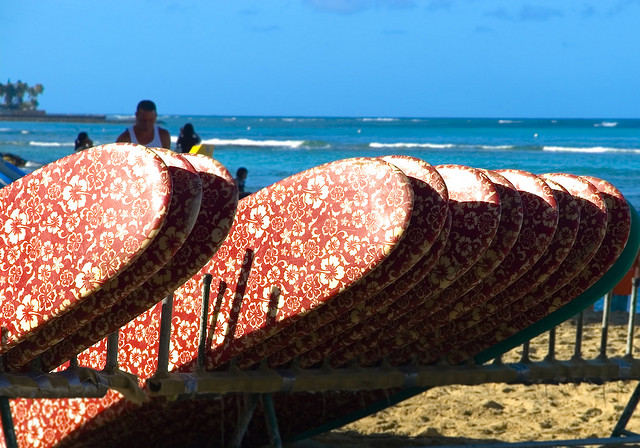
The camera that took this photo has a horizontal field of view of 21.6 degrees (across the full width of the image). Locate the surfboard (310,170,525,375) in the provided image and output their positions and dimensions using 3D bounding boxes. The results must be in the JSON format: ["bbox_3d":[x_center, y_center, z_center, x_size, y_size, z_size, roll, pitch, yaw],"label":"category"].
[{"bbox_3d":[0.534,0.355,8.059,1.158,0.159,0.703,-35,6,-4],"label":"surfboard"}]

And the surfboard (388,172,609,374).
[{"bbox_3d":[0.989,0.279,8.125,1.179,0.135,0.721,-35,12,-14],"label":"surfboard"}]

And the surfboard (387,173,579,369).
[{"bbox_3d":[0.898,0.284,8.110,1.001,0.138,0.629,-33,15,-7],"label":"surfboard"}]

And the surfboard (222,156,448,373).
[{"bbox_3d":[0.126,0.308,7.923,1.254,0.138,0.734,-40,24,5],"label":"surfboard"}]

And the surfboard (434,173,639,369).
[{"bbox_3d":[1.140,0.330,8.190,1.102,0.156,0.669,-33,40,-3],"label":"surfboard"}]
